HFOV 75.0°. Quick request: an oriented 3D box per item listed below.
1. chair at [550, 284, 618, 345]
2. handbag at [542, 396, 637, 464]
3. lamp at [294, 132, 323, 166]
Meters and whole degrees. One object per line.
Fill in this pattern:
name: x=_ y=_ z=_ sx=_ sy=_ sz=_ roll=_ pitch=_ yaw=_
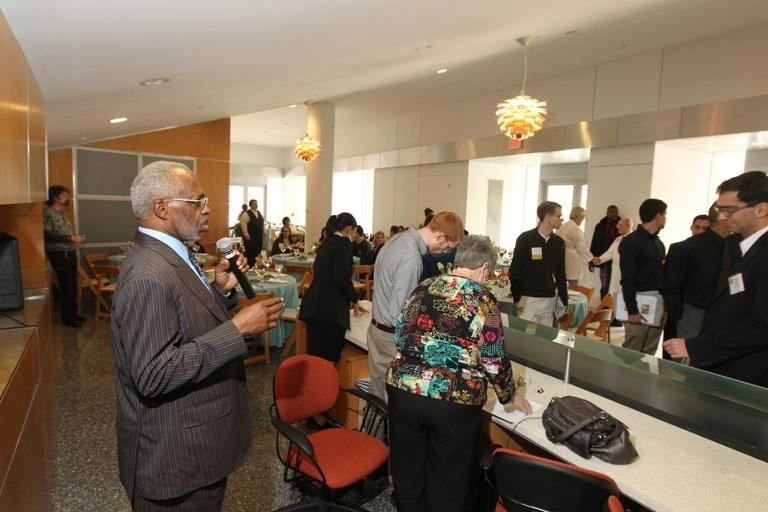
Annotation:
chair: x=2.255 y=0.666 z=5.646 sx=0.583 sy=0.982 sz=0.715 roll=0 pitch=31 yaw=12
handbag: x=1.173 y=0.976 z=2.962 sx=0.294 sy=0.176 sz=0.412 roll=-6 pitch=16 yaw=-27
lamp: x=-1.632 y=-2.194 z=10.412 sx=0.615 sy=0.723 sz=0.616 roll=1 pitch=3 yaw=4
